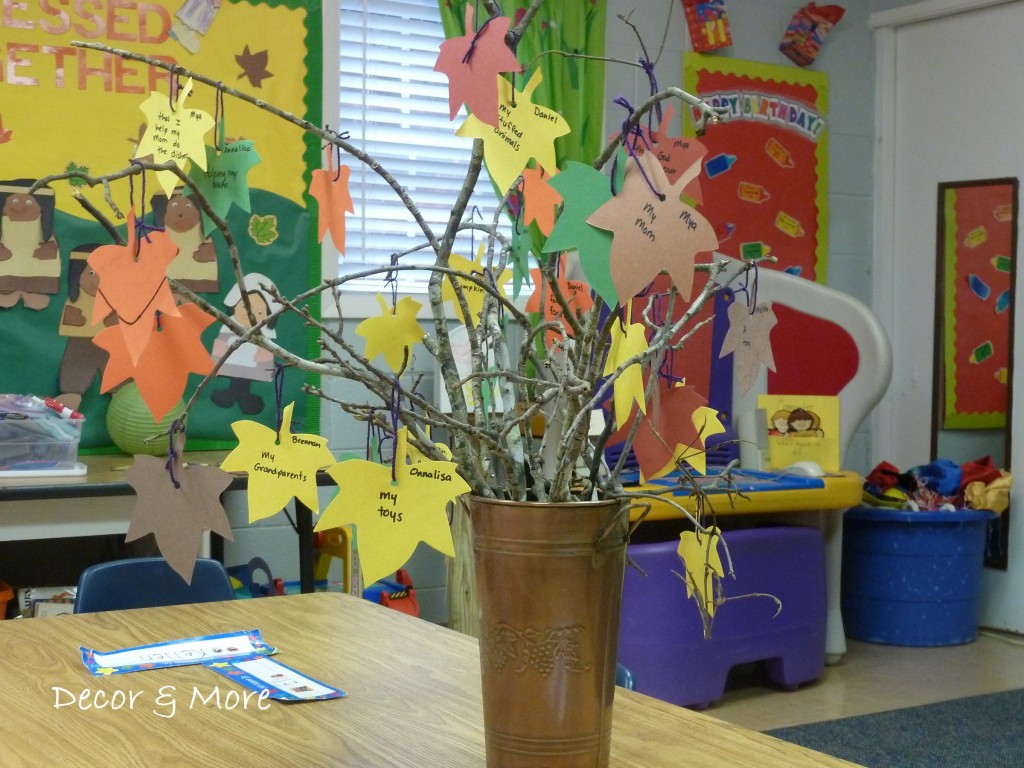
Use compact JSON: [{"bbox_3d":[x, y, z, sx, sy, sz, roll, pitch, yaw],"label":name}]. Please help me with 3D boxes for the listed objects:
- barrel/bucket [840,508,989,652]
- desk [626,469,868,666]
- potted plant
[{"bbox_3d":[1.752,0.867,4.294,0.577,0.499,0.594,0,-7,0],"label":"barrel/bucket"},{"bbox_3d":[0.738,0.591,3.015,0.601,0.665,0.939,1,-1,33],"label":"desk"},{"bbox_3d":[-0.151,0.015,1.386,0.966,1.092,0.802,0,-1,9],"label":"potted plant"}]
